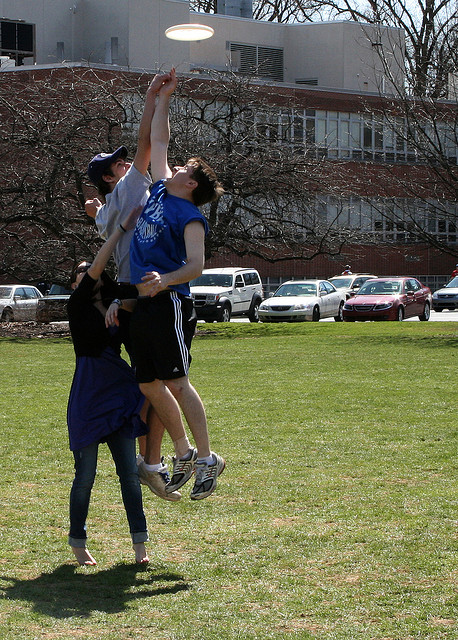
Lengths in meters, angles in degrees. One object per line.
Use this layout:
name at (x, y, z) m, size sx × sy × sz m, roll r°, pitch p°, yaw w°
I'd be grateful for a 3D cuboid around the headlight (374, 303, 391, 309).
headlight at (3.987, -0.351, 28.243) m, size 0.366 × 0.122 × 0.089 m, roll 1°, pitch 4°, yaw 4°

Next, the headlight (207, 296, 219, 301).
headlight at (-0.427, -0.605, 29.893) m, size 0.284 × 0.103 × 0.053 m, roll 0°, pitch 5°, yaw -18°

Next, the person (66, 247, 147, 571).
person at (-0.571, 0.407, 5.204) m, size 0.398 × 1.502 × 0.449 m, roll 1°, pitch 5°, yaw -7°

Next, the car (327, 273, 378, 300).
car at (3.966, -1.117, 36.050) m, size 1.024 × 0.744 × 2.079 m, roll 1°, pitch 2°, yaw 31°

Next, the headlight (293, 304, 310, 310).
headlight at (1.977, -0.359, 29.589) m, size 0.419 × 0.136 × 0.145 m, roll -1°, pitch 5°, yaw -29°

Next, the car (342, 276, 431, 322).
car at (4.413, -0.551, 29.361) m, size 1.141 × 0.724 × 2.406 m, roll -1°, pitch 0°, yaw 27°

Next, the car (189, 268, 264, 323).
car at (-0.367, -0.714, 31.176) m, size 1.323 × 0.989 × 2.269 m, roll -1°, pitch -1°, yaw 22°

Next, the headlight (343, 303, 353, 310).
headlight at (3.194, -0.367, 29.104) m, size 0.265 × 0.173 × 0.415 m, roll 0°, pitch 0°, yaw 2°
